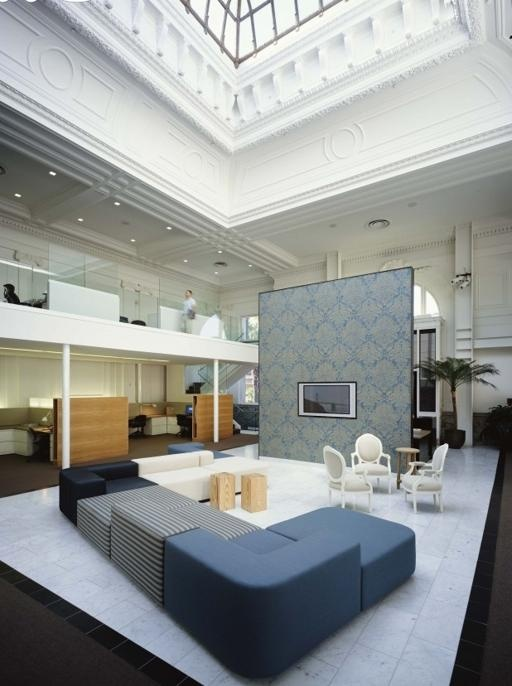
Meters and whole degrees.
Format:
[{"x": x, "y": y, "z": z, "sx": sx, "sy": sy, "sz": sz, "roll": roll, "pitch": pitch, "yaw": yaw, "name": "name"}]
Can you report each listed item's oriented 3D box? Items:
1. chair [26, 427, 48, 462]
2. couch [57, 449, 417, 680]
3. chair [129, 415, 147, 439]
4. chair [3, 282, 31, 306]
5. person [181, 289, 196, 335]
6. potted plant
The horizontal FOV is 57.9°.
[{"x": -4.739, "y": 2.178, "z": 10.163, "sx": 0.430, "sy": 0.674, "sz": 1.214, "roll": 3, "pitch": -5, "yaw": -36, "name": "chair"}, {"x": -0.524, "y": 1.842, "z": 4.947, "sx": 2.164, "sy": 0.628, "sz": 4.316, "roll": 4, "pitch": -6, "yaw": -38, "name": "couch"}, {"x": -3.729, "y": 2.561, "z": 14.619, "sx": 0.551, "sy": 0.684, "sz": 1.418, "roll": 1, "pitch": -4, "yaw": -14, "name": "chair"}, {"x": -4.356, "y": -0.903, "z": 8.265, "sx": 0.466, "sy": 0.533, "sz": 0.311, "roll": 0, "pitch": 2, "yaw": -8, "name": "chair"}, {"x": -1.864, "y": -0.757, "z": 12.758, "sx": 0.291, "sy": 0.957, "sz": 0.716, "roll": -2, "pitch": -5, "yaw": 25, "name": "person"}, {"x": 5.605, "y": 1.425, "z": 12.743, "sx": 2.091, "sy": 2.389, "sz": 2.185, "roll": -2, "pitch": -3, "yaw": 15, "name": "potted plant"}]
